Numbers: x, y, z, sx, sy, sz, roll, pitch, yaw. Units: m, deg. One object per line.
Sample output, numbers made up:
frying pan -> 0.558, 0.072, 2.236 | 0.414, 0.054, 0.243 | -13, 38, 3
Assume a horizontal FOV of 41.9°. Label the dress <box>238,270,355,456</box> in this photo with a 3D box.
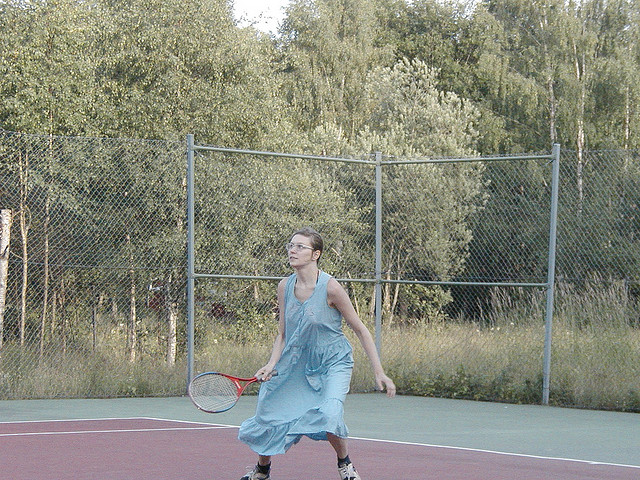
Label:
dress -> -0.247, 1.455, 9.603 | 1.380, 2.344, 1.044 | -8, -19, 28
